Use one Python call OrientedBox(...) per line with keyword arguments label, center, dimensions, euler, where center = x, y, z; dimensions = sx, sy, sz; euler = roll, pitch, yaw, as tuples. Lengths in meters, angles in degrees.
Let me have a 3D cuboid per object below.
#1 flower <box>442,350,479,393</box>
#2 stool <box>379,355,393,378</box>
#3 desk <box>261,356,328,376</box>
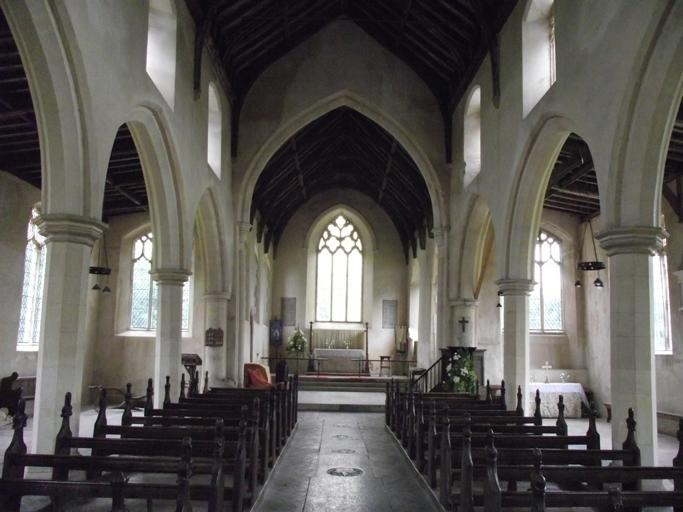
OrientedBox(label="flower", center=(2.812, 2.699, 13.769), dimensions=(0.820, 1.319, 0.855), euler=(4, -13, -9))
OrientedBox(label="stool", center=(1.760, 4.471, 23.835), dimensions=(0.657, 1.069, 0.703), euler=(-2, -4, 5))
OrientedBox(label="desk", center=(-1.999, 4.431, 24.005), dimensions=(1.753, 0.482, 1.290), euler=(1, -7, 2))
